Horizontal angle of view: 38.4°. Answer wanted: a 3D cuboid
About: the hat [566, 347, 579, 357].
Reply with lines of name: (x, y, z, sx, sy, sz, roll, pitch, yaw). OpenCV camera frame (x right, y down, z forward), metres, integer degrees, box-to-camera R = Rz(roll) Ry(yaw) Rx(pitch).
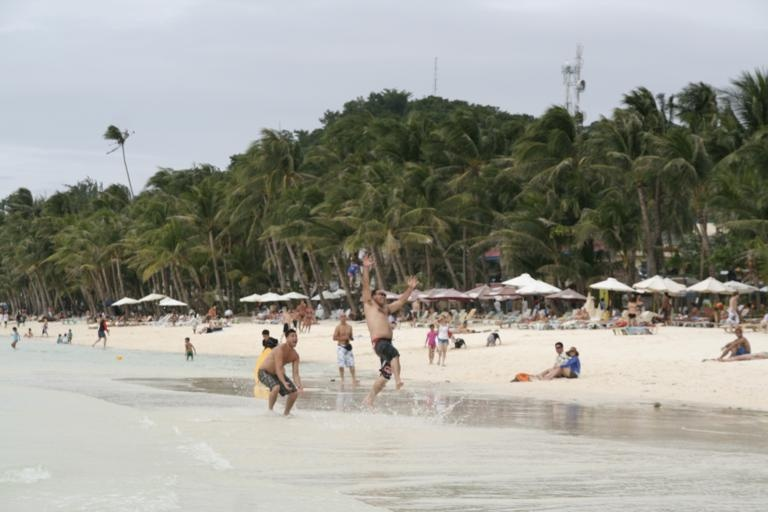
hat: (6.921, 3.513, 40.559, 0.403, 0.304, 0.851, -2, -5, 15)
